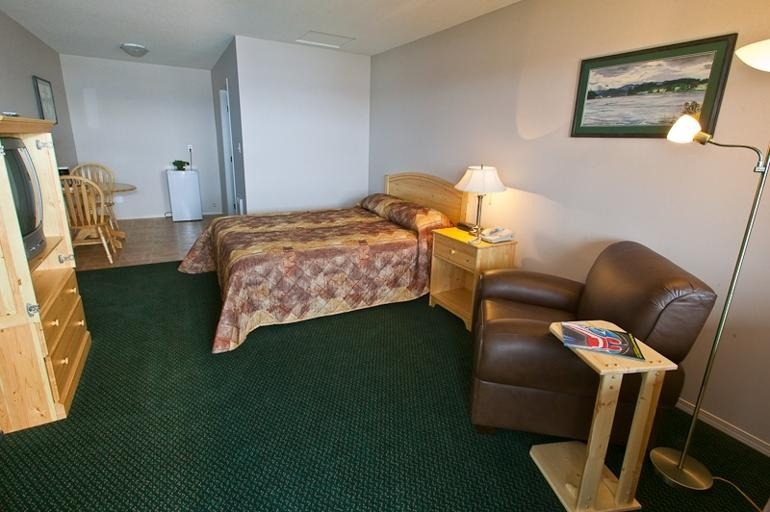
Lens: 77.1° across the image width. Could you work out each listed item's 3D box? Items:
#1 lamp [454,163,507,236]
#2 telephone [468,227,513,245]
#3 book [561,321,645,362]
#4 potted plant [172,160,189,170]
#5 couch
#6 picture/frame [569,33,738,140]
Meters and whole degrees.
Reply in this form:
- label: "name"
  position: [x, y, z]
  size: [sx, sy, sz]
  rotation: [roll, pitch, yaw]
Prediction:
- label: "lamp"
  position: [0.831, -0.513, 4.402]
  size: [0.392, 0.622, 0.444]
  rotation: [-4, 17, -14]
- label: "telephone"
  position: [0.962, -0.183, 4.297]
  size: [0.201, 0.085, 0.245]
  rotation: [-1, 11, -24]
- label: "book"
  position: [1.268, 0.494, 2.856]
  size: [0.450, 0.108, 0.239]
  rotation: [4, 16, 12]
- label: "potted plant"
  position: [-3.181, -1.445, 7.620]
  size: [0.246, 0.141, 0.399]
  rotation: [-6, 17, -23]
- label: "couch"
  position: [1.334, 0.592, 3.650]
  size: [1.447, 1.279, 1.451]
  rotation: [7, 18, 8]
- label: "picture/frame"
  position: [1.959, -1.231, 3.466]
  size: [0.041, 0.647, 1.053]
  rotation: [-9, 14, -35]
